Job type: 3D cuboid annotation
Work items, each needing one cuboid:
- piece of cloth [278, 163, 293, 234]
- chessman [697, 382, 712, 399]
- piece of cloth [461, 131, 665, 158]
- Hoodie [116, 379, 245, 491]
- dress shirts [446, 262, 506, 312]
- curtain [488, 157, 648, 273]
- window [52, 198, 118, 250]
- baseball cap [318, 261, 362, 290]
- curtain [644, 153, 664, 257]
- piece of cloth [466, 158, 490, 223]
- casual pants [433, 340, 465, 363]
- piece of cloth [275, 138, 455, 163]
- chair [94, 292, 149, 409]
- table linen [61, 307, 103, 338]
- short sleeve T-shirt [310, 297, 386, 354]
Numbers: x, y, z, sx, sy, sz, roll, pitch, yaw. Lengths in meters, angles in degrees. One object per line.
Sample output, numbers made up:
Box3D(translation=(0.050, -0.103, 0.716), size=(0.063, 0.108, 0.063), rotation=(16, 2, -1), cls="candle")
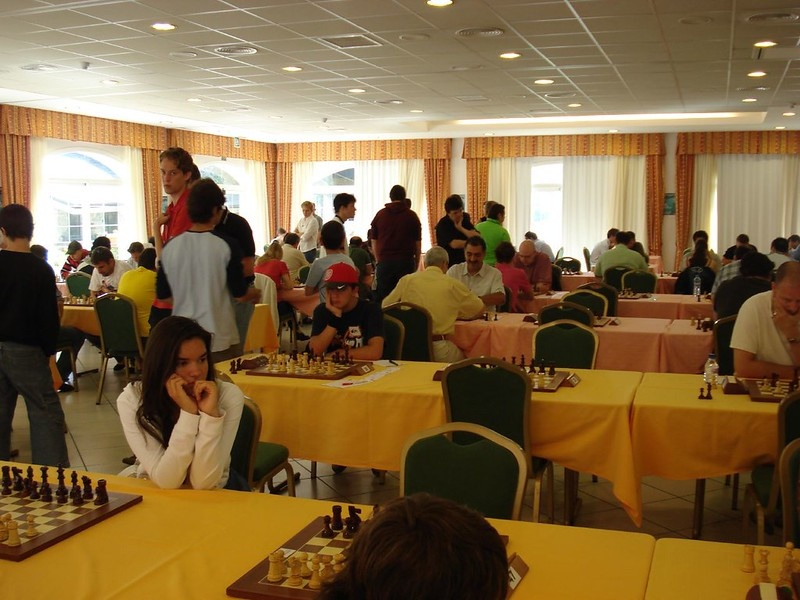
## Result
Box3D(translation=(-2.693, -2.337, 15.126), size=(0.396, 1.767, 0.095), rotation=(4, 8, 18), cls="piece of cloth")
Box3D(translation=(1.403, 0.422, 2.956), size=(0.059, 0.064, 0.034), rotation=(0, -9, 13), cls="chessman")
Box3D(translation=(3.279, -3.137, 13.020), size=(3.857, 0.505, 0.303), rotation=(1, 4, 15), cls="piece of cloth")
Box3D(translation=(-0.756, 0.490, 2.202), size=(0.431, 0.447, 0.315), rotation=(2, 6, 3), cls="Hoodie")
Box3D(translation=(0.711, -0.164, 5.710), size=(0.640, 0.472, 0.320), rotation=(1, 0, 19), cls="dress shirts")
Box3D(translation=(3.434, -1.848, 13.457), size=(3.784, 2.361, 0.240), rotation=(-3, 19, -11), cls="curtain")
Box3D(translation=(-5.325, -1.282, 10.751), size=(0.074, 0.933, 1.405), rotation=(4, 7, 32), cls="window")
Box3D(translation=(-0.335, -0.143, 3.639), size=(0.193, 0.103, 0.129), rotation=(4, -6, -30), cls="baseball cap")
Box3D(translation=(5.067, -1.930, 12.888), size=(0.174, 2.115, 0.415), rotation=(1, 5, 33), cls="curtain")
Box3D(translation=(1.667, -2.505, 13.789), size=(0.471, 0.127, 1.748), rotation=(-9, -26, 3), cls="piece of cloth")
Box3D(translation=(0.350, 0.388, 4.777), size=(0.225, 0.107, 0.137), rotation=(17, -11, -39), cls="casual pants")
Box3D(translation=(-0.819, -3.336, 14.327), size=(3.996, 0.499, 0.174), rotation=(1, 5, 17), cls="piece of cloth")
Box3D(translation=(-2.258, 0.401, 5.580), size=(0.544, 0.903, 0.568), rotation=(-2, -3, 25), cls="chair")
Box3D(translation=(-2.951, 0.184, 6.071), size=(0.413, 0.188, 0.397), rotation=(3, -1, -30), cls="table linen")
Box3D(translation=(-0.255, 0.139, 3.800), size=(0.483, 0.427, 0.283), rotation=(5, 4, 3), cls="short sleeve T-shirt")
